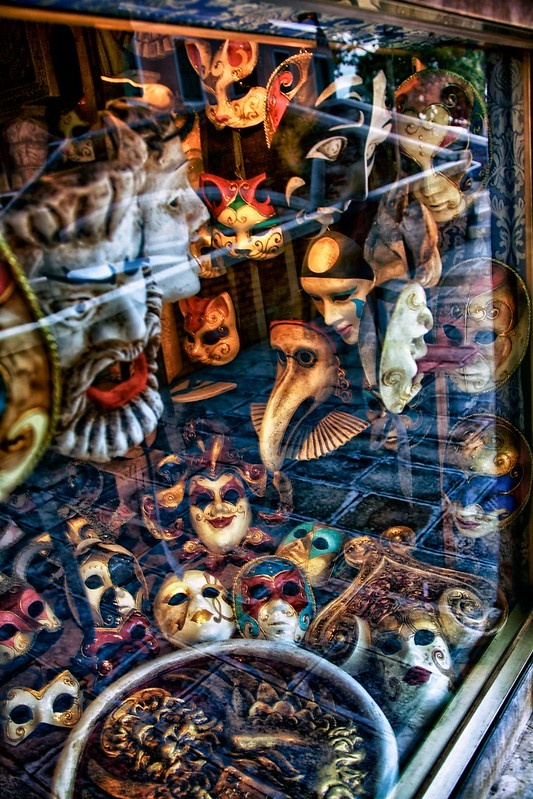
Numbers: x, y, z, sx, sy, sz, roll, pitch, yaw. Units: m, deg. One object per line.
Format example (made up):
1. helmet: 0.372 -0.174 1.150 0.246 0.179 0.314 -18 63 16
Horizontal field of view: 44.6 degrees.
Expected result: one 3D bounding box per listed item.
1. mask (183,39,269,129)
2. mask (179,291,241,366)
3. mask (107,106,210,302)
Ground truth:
1. mask: -0.079 -0.555 1.139 0.132 0.072 0.157 10 -29 22
2. mask: -0.112 -0.138 1.234 0.106 0.099 0.150 10 -68 29
3. mask: -0.131 -0.263 0.889 0.134 0.160 0.267 -10 -73 -37
